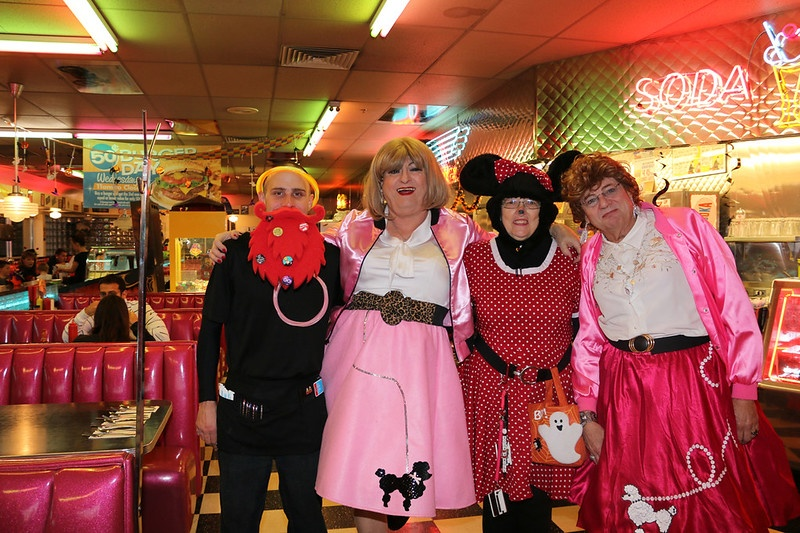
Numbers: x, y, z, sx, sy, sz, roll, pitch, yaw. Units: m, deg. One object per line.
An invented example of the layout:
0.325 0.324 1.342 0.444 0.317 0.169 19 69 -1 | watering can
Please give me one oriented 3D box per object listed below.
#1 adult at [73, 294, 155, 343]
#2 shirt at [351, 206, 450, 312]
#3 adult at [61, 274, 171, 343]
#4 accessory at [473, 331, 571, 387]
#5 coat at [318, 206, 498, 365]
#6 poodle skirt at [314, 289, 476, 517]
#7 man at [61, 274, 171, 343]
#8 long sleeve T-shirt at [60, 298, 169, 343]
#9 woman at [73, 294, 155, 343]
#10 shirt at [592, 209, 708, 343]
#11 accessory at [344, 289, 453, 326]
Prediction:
-2.409 0.415 5.009 0.725 0.348 0.813 -10 6 -37 | adult
0.050 0.001 3.219 0.535 0.673 0.383 6 -18 9 | shirt
-2.710 0.412 5.450 0.532 0.312 1.060 -19 26 -28 | adult
0.678 0.520 2.999 0.307 0.287 0.090 8 -31 -32 | accessory
0.045 0.137 3.035 0.876 0.645 0.282 -1 -9 0 | coat
-0.127 0.722 3.131 1.061 1.148 0.869 10 -10 -6 | poodle skirt
-2.710 0.412 5.450 0.532 0.312 1.060 -19 26 -28 | man
-2.401 0.492 4.930 0.863 0.306 0.638 4 -12 -35 | long sleeve T-shirt
-2.466 0.416 4.982 0.690 0.345 0.823 -11 7 -44 | woman
1.318 0.064 2.945 0.491 0.594 0.337 -35 -18 35 | shirt
-0.007 0.221 2.986 0.274 0.094 0.287 10 -17 11 | accessory
